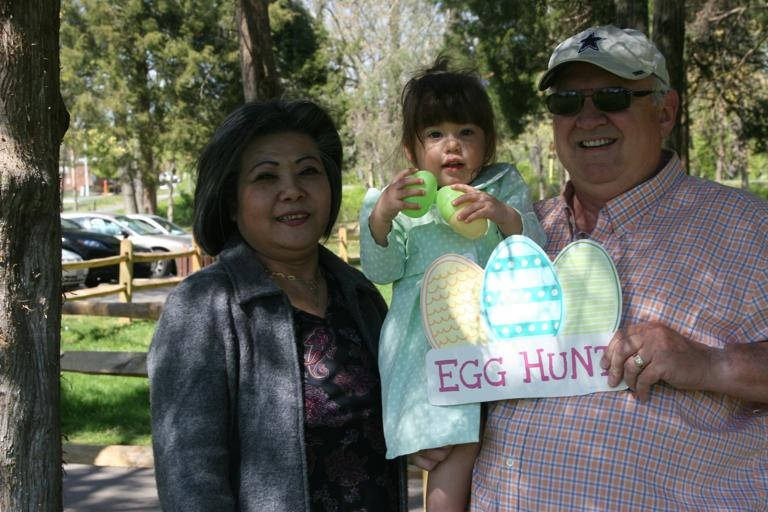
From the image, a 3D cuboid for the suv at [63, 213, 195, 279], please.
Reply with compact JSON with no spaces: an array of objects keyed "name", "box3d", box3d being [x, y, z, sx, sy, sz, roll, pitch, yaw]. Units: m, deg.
[{"name":"suv","box3d":[-6.127,-0.403,20.004,3.923,1.433,1.736,0,3,7]}]
